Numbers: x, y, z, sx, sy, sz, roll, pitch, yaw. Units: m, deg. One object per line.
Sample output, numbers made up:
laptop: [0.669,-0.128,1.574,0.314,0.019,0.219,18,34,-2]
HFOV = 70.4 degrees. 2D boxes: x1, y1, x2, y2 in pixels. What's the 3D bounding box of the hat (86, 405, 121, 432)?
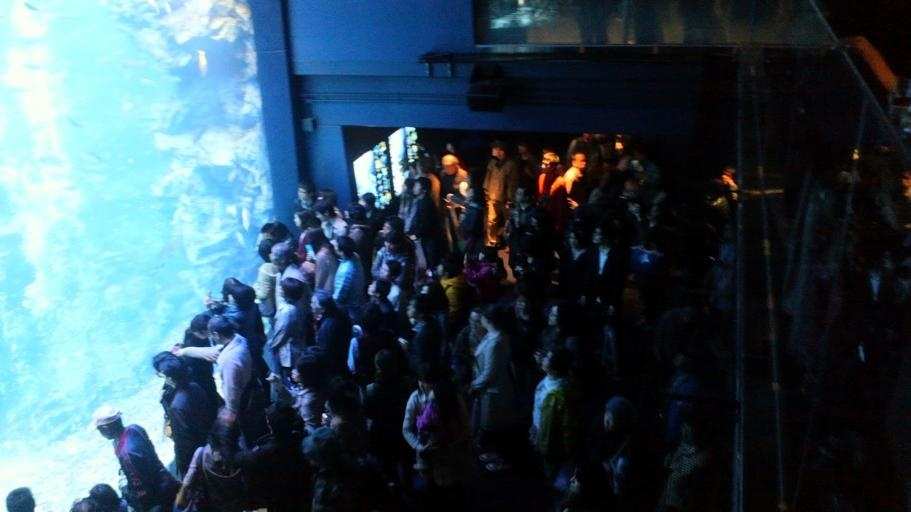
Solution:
hat: [-3.587,1.695,6.667,0.336,0.151,0.239,5,26,15]
